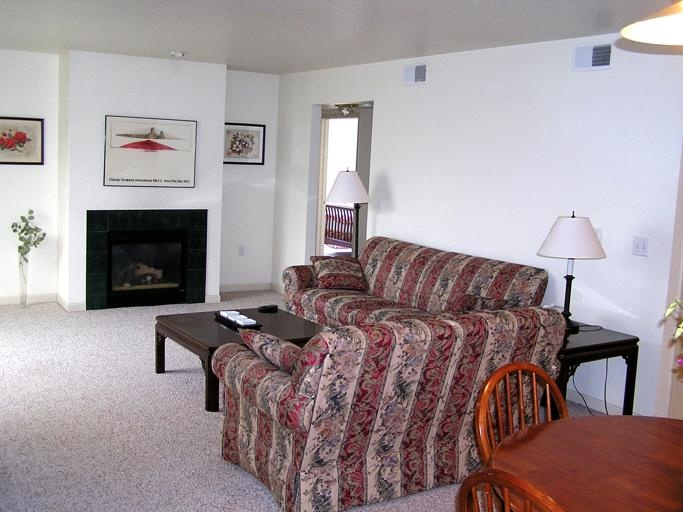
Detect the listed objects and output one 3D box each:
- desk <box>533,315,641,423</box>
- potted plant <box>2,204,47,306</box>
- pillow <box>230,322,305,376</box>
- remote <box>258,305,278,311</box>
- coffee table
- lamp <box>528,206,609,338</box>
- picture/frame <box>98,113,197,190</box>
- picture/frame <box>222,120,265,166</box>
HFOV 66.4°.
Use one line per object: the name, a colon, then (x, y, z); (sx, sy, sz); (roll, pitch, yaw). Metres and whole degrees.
desk: (1.719, 0.925, 4.000); (0.871, 0.740, 0.866); (-1, 5, -2)
potted plant: (-3.655, 0.009, 6.159); (0.370, 1.124, 0.332); (-5, 13, -32)
pillow: (-0.363, 0.503, 2.815); (0.491, 0.129, 0.126); (16, 17, 32)
remote: (-0.654, 0.448, 4.620); (0.136, 0.039, 0.068); (-4, 12, -24)
coffee table: (-0.807, 0.704, 4.176); (0.898, 0.407, 0.889); (-3, 9, -32)
lamp: (1.732, 0.124, 3.902); (0.409, 0.886, 0.629); (10, 14, 36)
picture/frame: (-2.337, -1.266, 6.154); (0.977, 0.753, 0.017); (-3, 10, -27)
picture/frame: (-1.346, -1.557, 7.053); (0.670, 0.552, 0.043); (-10, 18, -33)
